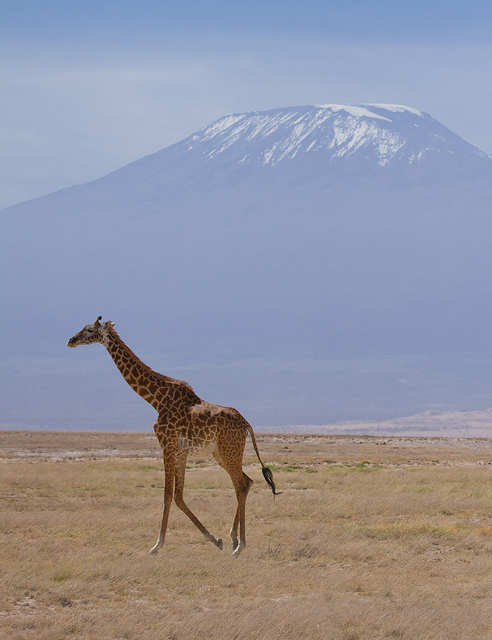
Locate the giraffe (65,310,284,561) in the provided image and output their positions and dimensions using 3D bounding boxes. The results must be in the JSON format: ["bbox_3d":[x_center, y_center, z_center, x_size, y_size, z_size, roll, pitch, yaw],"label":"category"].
[{"bbox_3d":[-1.504,3.106,32.802,4.281,7.322,11.215,1,9,1],"label":"giraffe"}]
